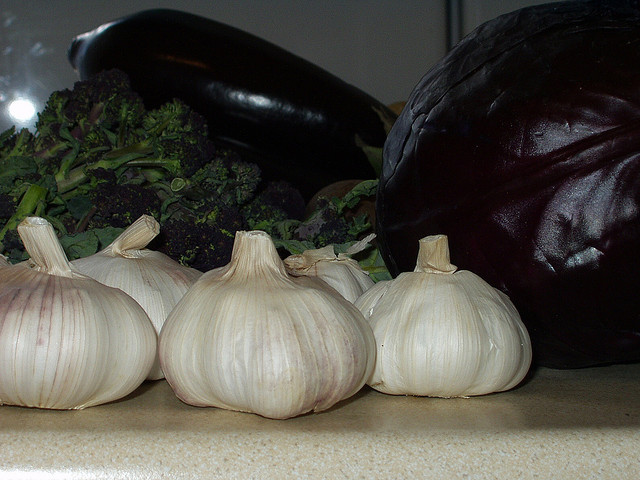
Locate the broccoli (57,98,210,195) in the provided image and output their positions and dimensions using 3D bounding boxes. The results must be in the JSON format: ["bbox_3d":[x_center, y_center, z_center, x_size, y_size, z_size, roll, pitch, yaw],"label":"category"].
[{"bbox_3d":[-0.286,-0.138,1.043,0.230,0.171,0.094,-3,5,-21],"label":"broccoli"}]

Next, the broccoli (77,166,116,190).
[{"bbox_3d":[-0.351,-0.100,0.979,0.038,0.025,0.050,22,41,28],"label":"broccoli"}]

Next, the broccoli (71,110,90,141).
[{"bbox_3d":[-0.397,-0.189,1.021,0.029,0.044,0.022,2,4,-13],"label":"broccoli"}]

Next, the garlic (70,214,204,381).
[{"bbox_3d":[-0.214,0.050,0.823,0.152,0.215,0.154,3,17,2],"label":"garlic"}]

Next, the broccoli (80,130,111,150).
[{"bbox_3d":[-0.372,-0.164,1.019,0.032,0.019,0.034,1,6,-6],"label":"broccoli"}]

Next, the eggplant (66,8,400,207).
[{"bbox_3d":[-0.154,-0.300,1.548,0.831,0.267,0.387,24,-10,-16],"label":"eggplant"}]

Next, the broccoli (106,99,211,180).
[{"bbox_3d":[-0.256,-0.166,1.054,0.173,0.094,0.129,-15,17,-12],"label":"broccoli"}]

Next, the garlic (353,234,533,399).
[{"bbox_3d":[0.145,0.088,0.757,0.231,0.170,0.208,-2,1,-4],"label":"garlic"}]

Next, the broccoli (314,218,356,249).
[{"bbox_3d":[0.025,-0.011,1.013,0.058,0.032,0.045,-27,41,-20],"label":"broccoli"}]

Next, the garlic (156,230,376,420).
[{"bbox_3d":[-0.054,0.088,0.654,0.227,0.186,0.116,5,7,6],"label":"garlic"}]

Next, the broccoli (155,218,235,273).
[{"bbox_3d":[-0.186,-0.005,0.960,0.109,0.086,0.078,12,14,40],"label":"broccoli"}]

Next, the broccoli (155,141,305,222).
[{"bbox_3d":[-0.145,-0.092,1.155,0.224,0.111,0.167,32,-29,-34],"label":"broccoli"}]
